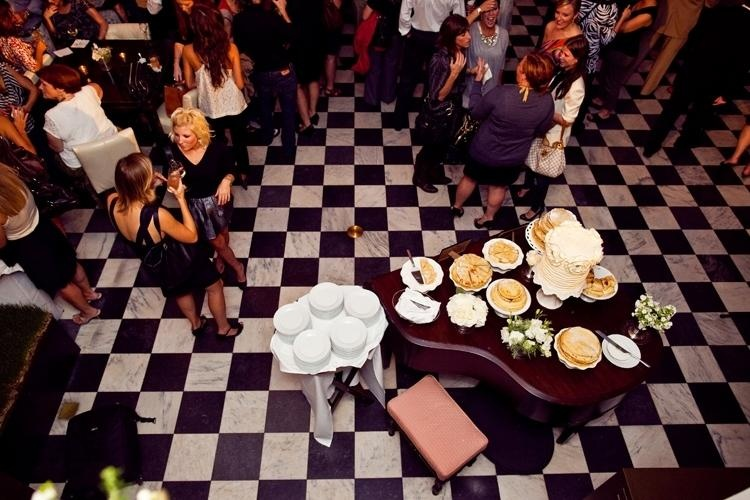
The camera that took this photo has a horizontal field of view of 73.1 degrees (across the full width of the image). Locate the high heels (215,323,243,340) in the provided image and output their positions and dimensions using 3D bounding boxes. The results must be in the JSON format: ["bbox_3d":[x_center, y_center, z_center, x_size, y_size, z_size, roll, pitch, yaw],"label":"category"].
[{"bbox_3d":[-1.596,0.898,5.588,0.245,0.096,0.132,-20,58,-22],"label":"high heels"}]

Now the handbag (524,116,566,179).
[{"bbox_3d":[1.996,-1.211,5.934,0.452,0.659,0.280,27,33,27],"label":"handbag"}]

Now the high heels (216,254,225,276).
[{"bbox_3d":[-1.774,0.173,5.826,0.075,0.097,0.245,-8,82,-6],"label":"high heels"}]

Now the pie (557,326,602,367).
[{"bbox_3d":[1.818,0.877,4.560,0.366,0.206,0.349,-12,50,-12],"label":"pie"}]

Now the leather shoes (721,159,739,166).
[{"bbox_3d":[4.831,-1.183,6.918,0.187,0.129,0.072,-9,89,25],"label":"leather shoes"}]

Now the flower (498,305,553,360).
[{"bbox_3d":[1.370,0.808,4.674,0.403,0.384,0.407,35,54,27],"label":"flower"}]

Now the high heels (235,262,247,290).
[{"bbox_3d":[-1.557,0.309,5.928,0.109,0.077,0.327,-5,79,3],"label":"high heels"}]

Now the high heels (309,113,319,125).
[{"bbox_3d":[-0.889,-1.893,7.343,0.098,0.153,0.163,25,38,32],"label":"high heels"}]

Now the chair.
[{"bbox_3d":[-3.335,-1.589,5.958,1.514,2.178,1.383,15,71,-10],"label":"chair"}]

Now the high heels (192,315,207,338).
[{"bbox_3d":[-1.903,0.842,5.579,0.112,0.107,0.232,9,50,11],"label":"high heels"}]

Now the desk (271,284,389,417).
[{"bbox_3d":[-0.418,0.740,4.675,0.956,0.322,0.892,-2,62,-4],"label":"desk"}]

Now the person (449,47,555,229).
[{"bbox_3d":[1.451,-1.146,5.785,0.886,2.055,0.529,10,49,8],"label":"person"}]

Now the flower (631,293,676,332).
[{"bbox_3d":[2.523,0.603,4.634,0.323,0.231,0.241,27,53,21],"label":"flower"}]

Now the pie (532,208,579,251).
[{"bbox_3d":[1.692,-0.179,4.898,0.407,0.169,0.414,12,59,9],"label":"pie"}]

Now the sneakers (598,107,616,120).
[{"bbox_3d":[3.370,-1.995,7.427,0.205,0.232,0.183,-2,89,10],"label":"sneakers"}]

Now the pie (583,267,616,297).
[{"bbox_3d":[2.145,0.320,4.797,0.290,0.115,0.288,-5,66,8],"label":"pie"}]

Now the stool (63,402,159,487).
[{"bbox_3d":[-2.551,1.866,4.799,0.668,0.389,0.733,2,48,0],"label":"stool"}]

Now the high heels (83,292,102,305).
[{"bbox_3d":[-3.216,0.546,5.761,0.200,0.137,0.071,-10,62,-7],"label":"high heels"}]

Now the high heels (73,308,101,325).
[{"bbox_3d":[-3.198,0.735,5.683,0.270,0.120,0.142,-28,75,-14],"label":"high heels"}]

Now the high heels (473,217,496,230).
[{"bbox_3d":[1.390,-0.327,6.388,0.228,0.091,0.128,9,58,5],"label":"high heels"}]

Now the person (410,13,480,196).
[{"bbox_3d":[0.871,-1.788,6.206,0.757,2.307,0.964,16,57,13],"label":"person"}]

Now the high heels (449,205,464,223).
[{"bbox_3d":[1.045,-0.456,6.461,0.109,0.189,0.182,5,15,11],"label":"high heels"}]

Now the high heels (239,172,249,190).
[{"bbox_3d":[-1.726,-0.917,6.723,0.193,0.099,0.139,46,66,7],"label":"high heels"}]

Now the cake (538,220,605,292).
[{"bbox_3d":[1.738,0.141,4.636,0.494,0.702,0.469,21,51,17],"label":"cake"}]

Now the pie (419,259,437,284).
[{"bbox_3d":[0.504,0.200,4.863,0.162,0.053,0.310,-6,58,-3],"label":"pie"}]

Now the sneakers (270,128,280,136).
[{"bbox_3d":[-1.416,-1.651,7.114,0.109,0.040,0.148,1,80,-11],"label":"sneakers"}]

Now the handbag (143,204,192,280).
[{"bbox_3d":[-2.071,0.003,5.009,0.535,0.429,0.731,5,91,-5],"label":"handbag"}]

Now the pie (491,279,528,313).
[{"bbox_3d":[1.242,0.442,4.710,0.297,0.090,0.302,-2,56,0],"label":"pie"}]

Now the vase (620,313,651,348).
[{"bbox_3d":[2.410,0.743,4.665,0.191,0.204,0.213,4,70,22],"label":"vase"}]
